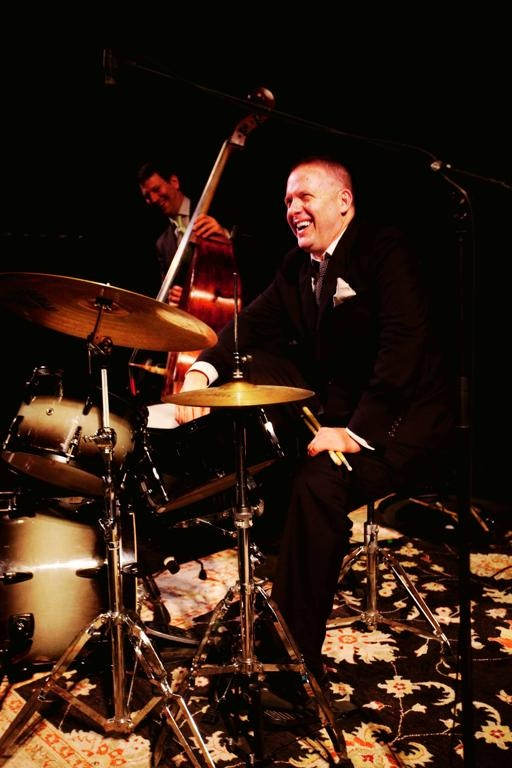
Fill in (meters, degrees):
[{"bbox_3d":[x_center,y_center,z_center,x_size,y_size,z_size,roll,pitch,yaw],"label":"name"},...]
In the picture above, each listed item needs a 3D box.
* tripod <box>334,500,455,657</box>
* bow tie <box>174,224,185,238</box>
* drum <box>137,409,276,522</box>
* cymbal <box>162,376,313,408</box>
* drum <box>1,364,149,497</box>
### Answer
[{"bbox_3d":[0.539,0.760,2.732,0.450,0.566,0.367,0,30,7],"label":"tripod"},{"bbox_3d":[-0.318,-0.643,2.987,0.020,0.057,0.044,-6,11,-44],"label":"bow tie"},{"bbox_3d":[-0.186,0.244,2.187,0.314,0.145,0.382,-25,-15,-6],"label":"drum"},{"bbox_3d":[-0.049,0.024,1.851,0.395,0.086,0.221,3,-7,0],"label":"cymbal"},{"bbox_3d":[-0.551,0.147,2.305,0.415,0.287,0.402,23,-18,8],"label":"drum"}]
